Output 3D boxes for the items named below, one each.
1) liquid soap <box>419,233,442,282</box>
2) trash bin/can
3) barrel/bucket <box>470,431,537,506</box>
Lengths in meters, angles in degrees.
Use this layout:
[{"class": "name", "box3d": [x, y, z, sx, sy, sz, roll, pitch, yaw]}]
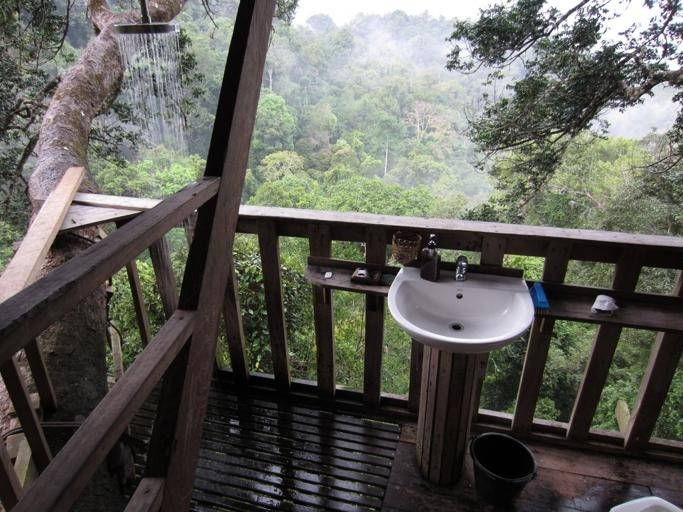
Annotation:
[{"class": "liquid soap", "box3d": [0.472, 0.011, 2.417, 0.081, 0.212, 0.080, 9, 16, 35]}, {"class": "trash bin/can", "box3d": [0.831, 1.151, 2.457, 0.294, 0.379, 0.304, 4, 17, -3]}, {"class": "barrel/bucket", "box3d": [0.852, 1.146, 2.451, 0.340, 0.291, 0.309, 17, 22, 28]}]
